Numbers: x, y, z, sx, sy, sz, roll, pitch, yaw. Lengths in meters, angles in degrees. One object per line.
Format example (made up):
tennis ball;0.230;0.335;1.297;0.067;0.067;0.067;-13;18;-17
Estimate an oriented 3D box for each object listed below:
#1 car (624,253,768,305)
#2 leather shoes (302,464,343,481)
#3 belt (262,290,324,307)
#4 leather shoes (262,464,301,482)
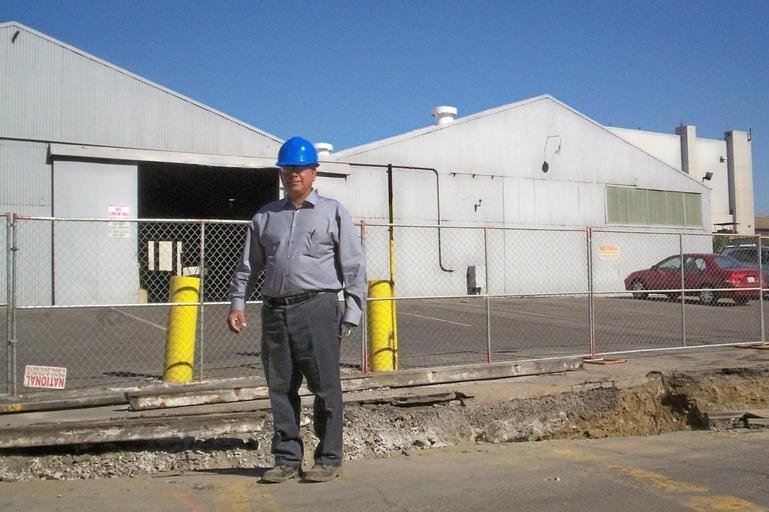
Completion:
car;9.470;0.720;23.641;1.601;1.290;3.652;1;2;-37
leather shoes;-0.864;3.053;10.995;0.519;0.243;0.208;7;-10;-31
belt;-1.296;0.600;10.996;0.819;0.212;0.144;-1;-3;14
leather shoes;-1.463;3.053;10.974;0.561;0.233;0.207;6;-8;-23
